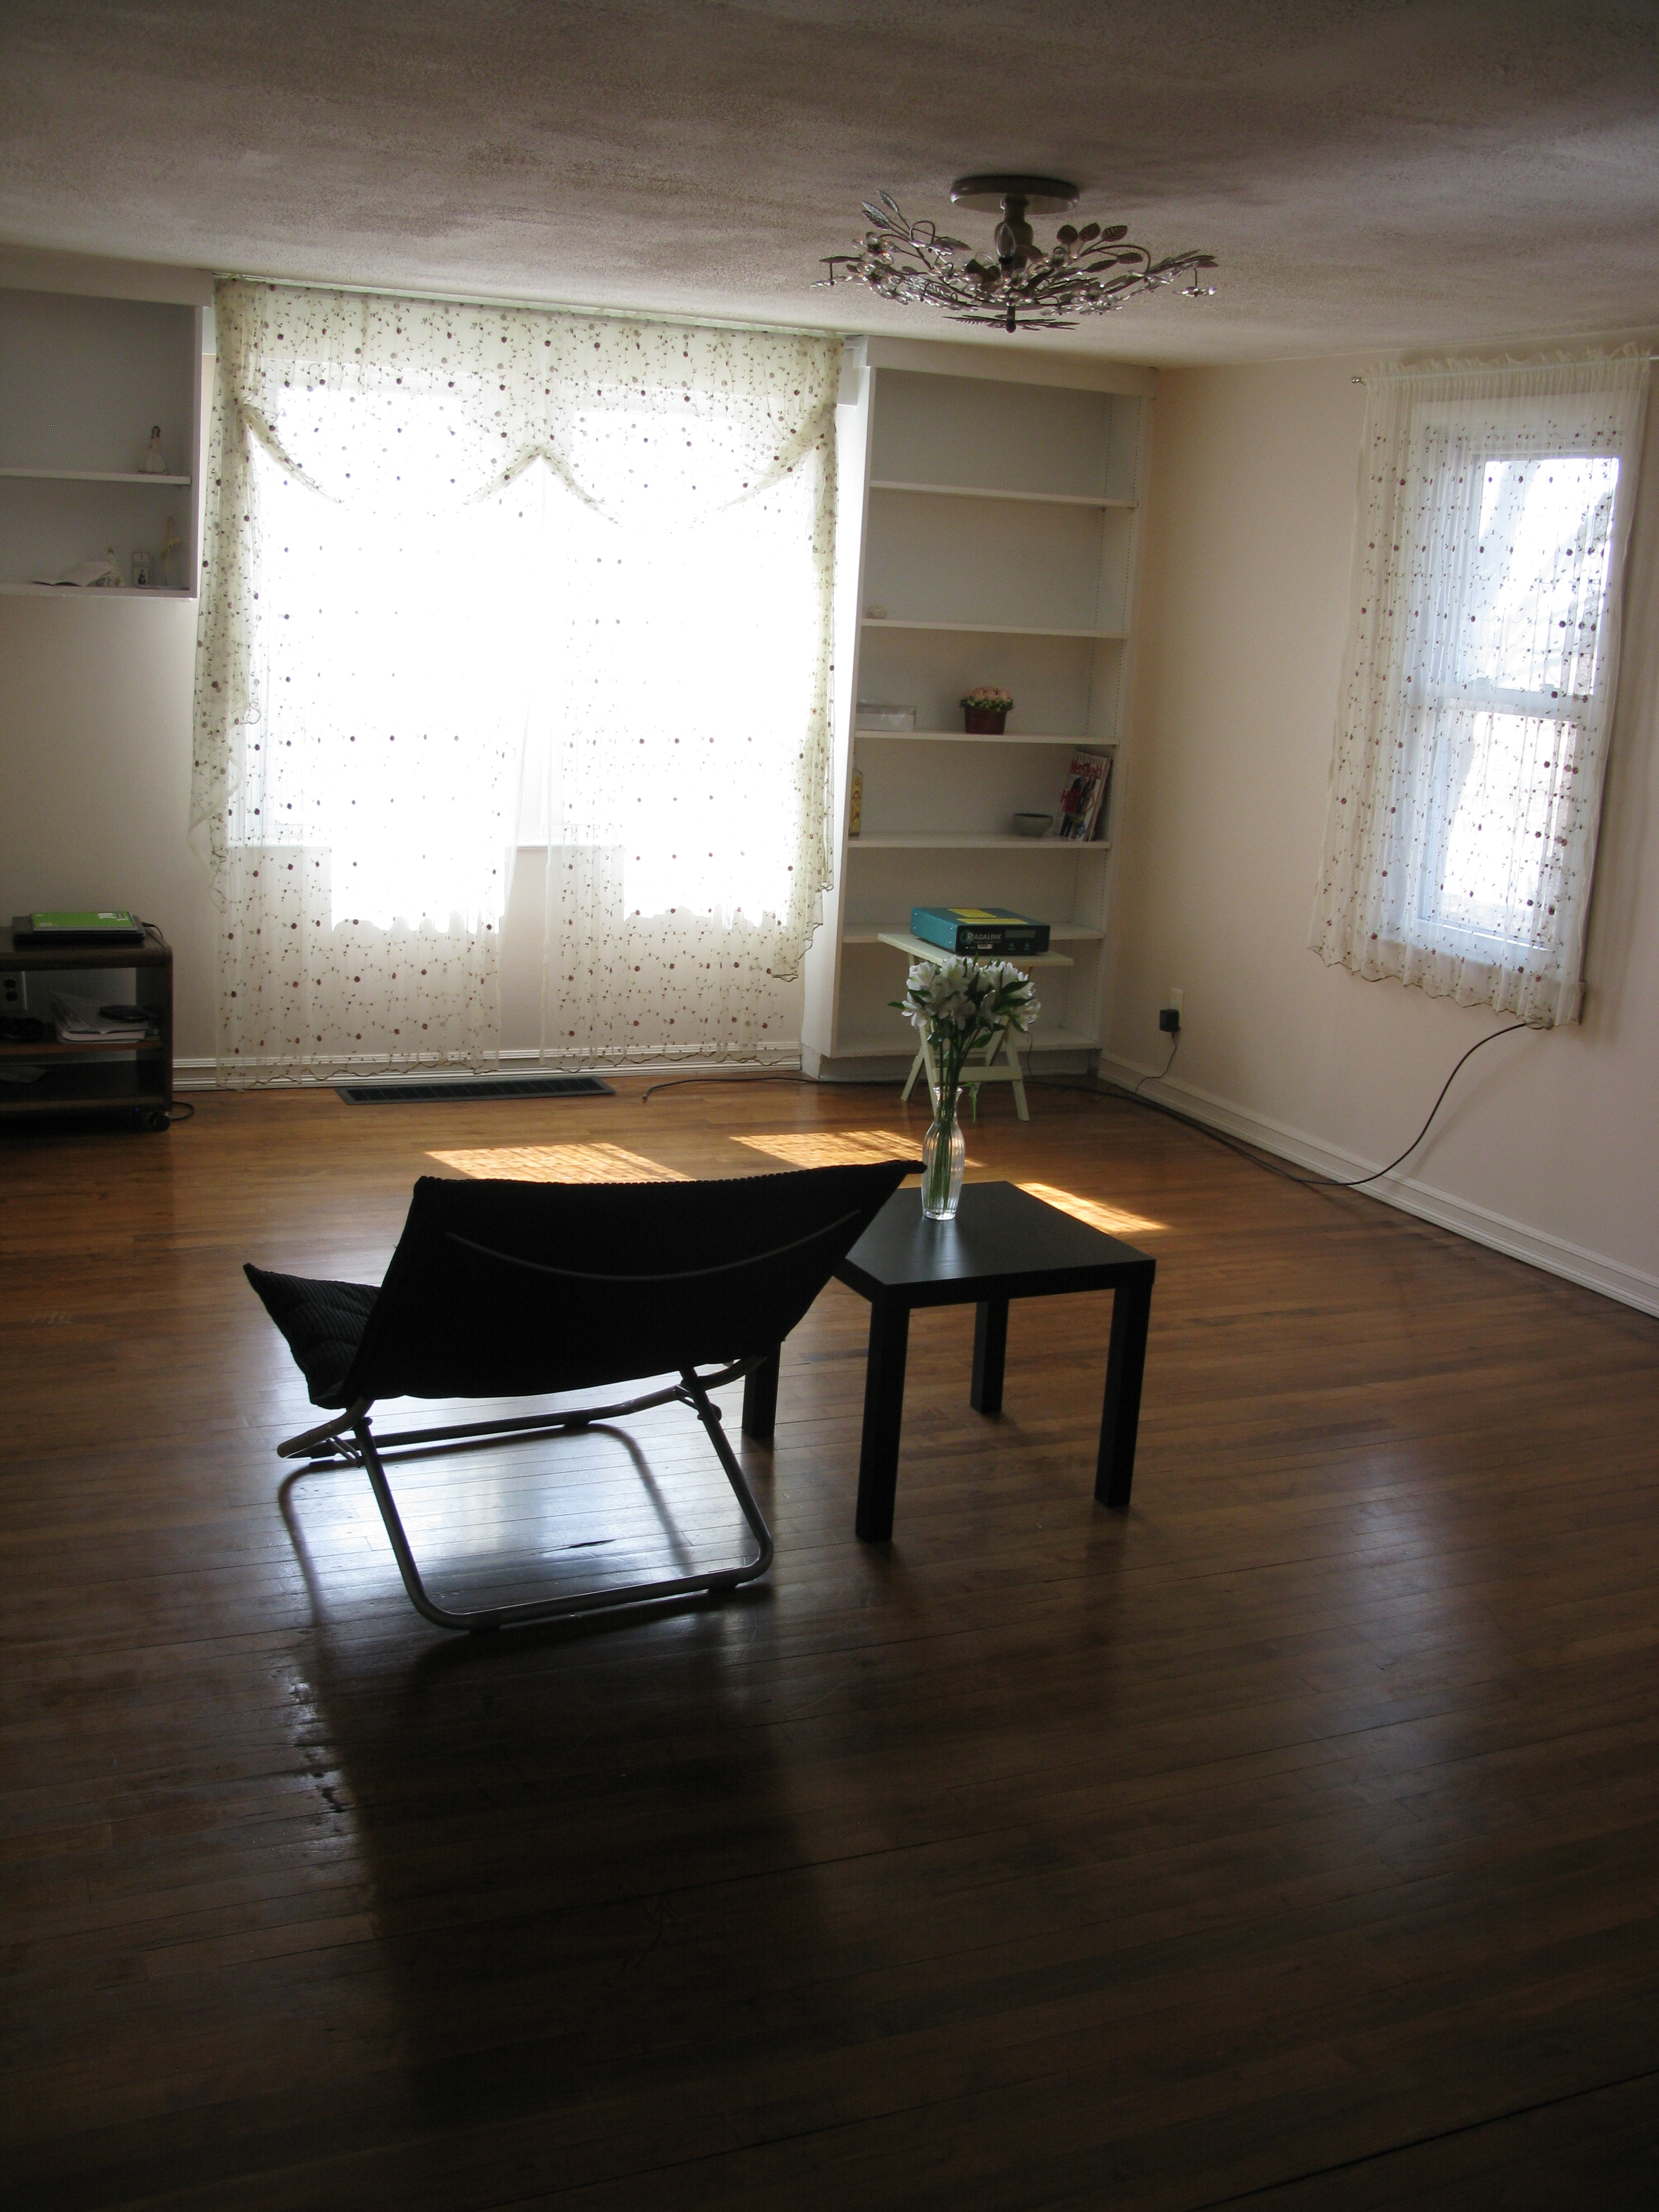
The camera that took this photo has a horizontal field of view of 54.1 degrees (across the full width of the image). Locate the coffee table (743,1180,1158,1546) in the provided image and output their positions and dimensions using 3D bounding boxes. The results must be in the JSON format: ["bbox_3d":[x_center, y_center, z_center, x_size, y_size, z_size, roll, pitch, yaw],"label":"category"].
[{"bbox_3d":[0.249,0.388,3.095,0.628,0.561,0.635,-5,19,-15],"label":"coffee table"}]

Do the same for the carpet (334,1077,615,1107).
[{"bbox_3d":[-1.222,-0.056,5.689,0.915,0.058,0.327,0,9,-18],"label":"carpet"}]

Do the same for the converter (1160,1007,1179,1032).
[{"bbox_3d":[1.286,-0.331,6.159,0.045,0.082,0.088,-2,4,-16],"label":"converter"}]

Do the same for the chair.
[{"bbox_3d":[-0.504,0.344,2.708,0.661,0.622,0.978,1,13,-24],"label":"chair"}]

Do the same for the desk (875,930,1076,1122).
[{"bbox_3d":[0.552,-0.229,5.936,0.669,0.762,0.752,0,10,-10],"label":"desk"}]

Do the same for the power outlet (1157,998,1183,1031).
[{"bbox_3d":[1.276,-0.346,6.194,0.079,0.144,0.146,-5,10,-28],"label":"power outlet"}]

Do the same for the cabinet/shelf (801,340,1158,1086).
[{"bbox_3d":[0.567,-1.694,6.110,0.987,2.316,0.383,4,-2,0],"label":"cabinet/shelf"}]
